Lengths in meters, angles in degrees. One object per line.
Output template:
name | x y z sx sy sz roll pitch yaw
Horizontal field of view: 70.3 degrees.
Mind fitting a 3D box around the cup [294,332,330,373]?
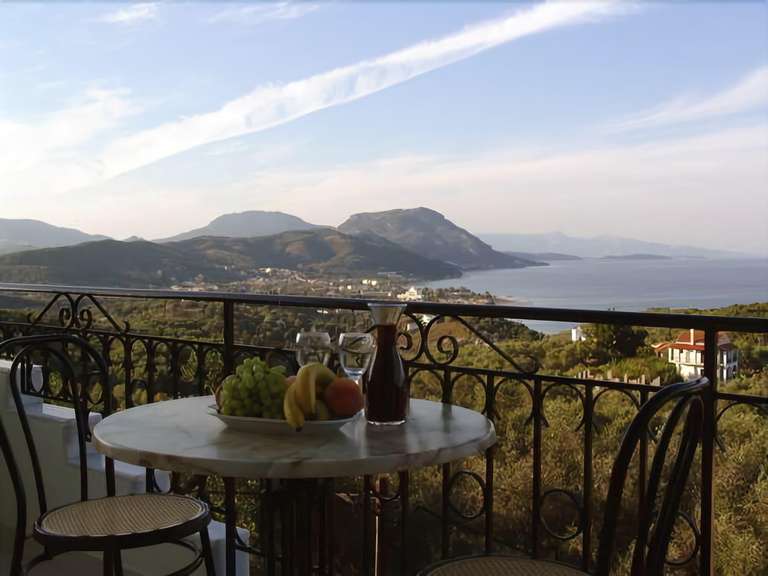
cup | -0.186 0.172 1.421 0.084 0.096 0.086 0 -1 0

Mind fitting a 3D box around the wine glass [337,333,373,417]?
wine glass | -0.080 0.230 1.452 0.070 0.208 0.073 5 0 -35

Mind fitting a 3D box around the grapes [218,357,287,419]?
grapes | -0.306 0.239 1.280 0.122 0.105 0.152 5 -28 1

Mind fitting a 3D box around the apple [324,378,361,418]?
apple | -0.094 0.261 1.328 0.087 0.090 0.086 -3 -2 4
